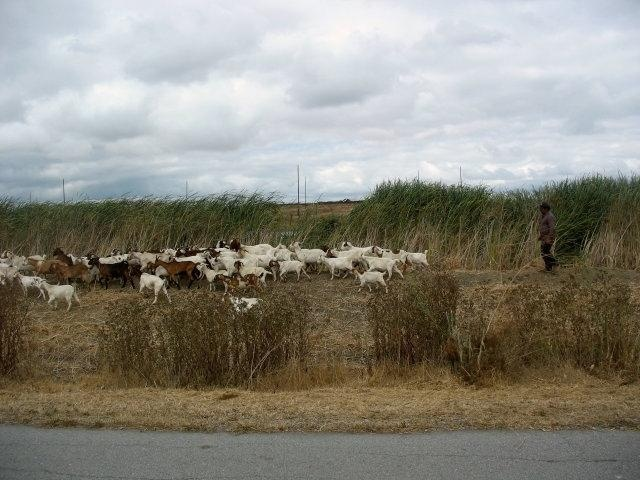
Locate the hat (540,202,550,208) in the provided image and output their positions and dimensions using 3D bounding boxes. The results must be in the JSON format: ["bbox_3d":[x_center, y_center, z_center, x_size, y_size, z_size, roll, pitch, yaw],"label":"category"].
[{"bbox_3d":[7.564,-1.170,22.959,0.284,0.113,0.256,-15,18,-27],"label":"hat"}]
